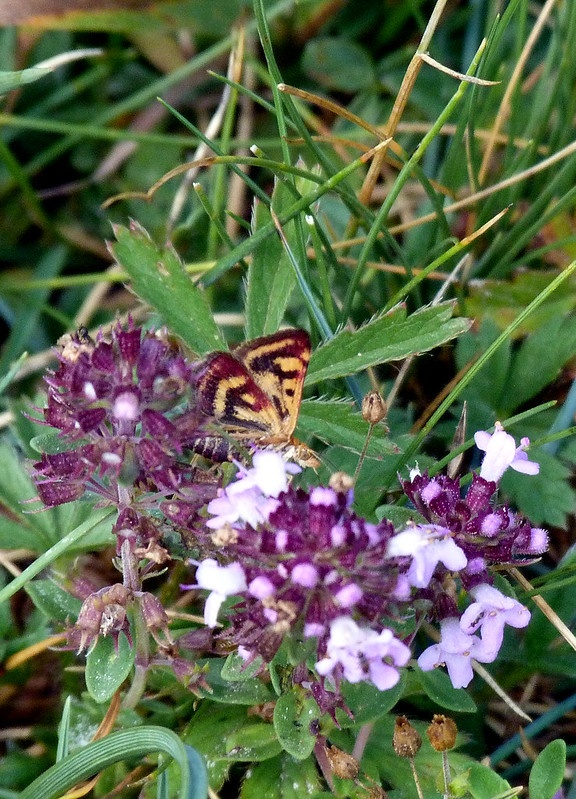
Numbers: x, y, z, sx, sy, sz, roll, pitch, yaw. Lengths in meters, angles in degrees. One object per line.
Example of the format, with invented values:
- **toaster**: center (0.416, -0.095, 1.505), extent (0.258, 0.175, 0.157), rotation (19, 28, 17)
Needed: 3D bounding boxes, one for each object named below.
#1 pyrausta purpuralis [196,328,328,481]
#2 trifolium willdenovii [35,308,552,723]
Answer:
- **pyrausta purpuralis**: center (-0.067, -0.010, 1.716), extent (0.219, 0.306, 0.300), rotation (11, 50, -19)
- **trifolium willdenovii**: center (0.006, 0.336, 1.811), extent (1.019, 0.460, 1.015), rotation (-44, 59, -12)
